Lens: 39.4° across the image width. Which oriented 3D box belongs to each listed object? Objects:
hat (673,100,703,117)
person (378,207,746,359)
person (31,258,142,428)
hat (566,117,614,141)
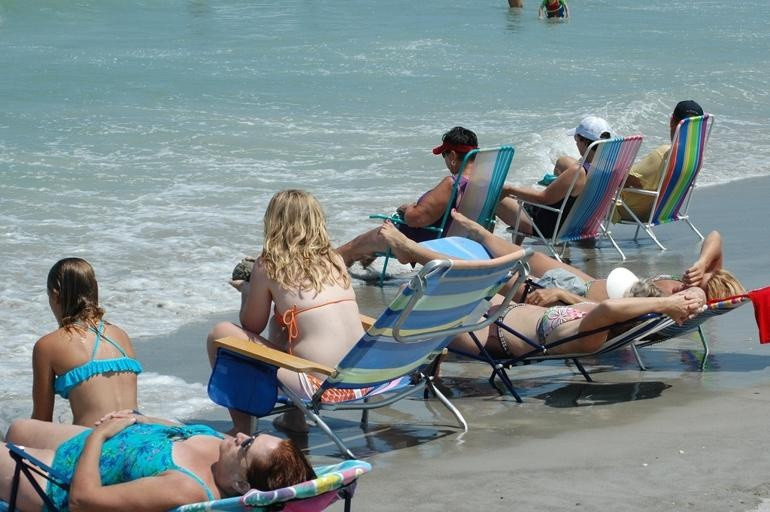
[{"bbox_3d":[3.583,-1.744,12.773,0.280,0.158,0.319,2,12,-2],"label":"hat"},{"bbox_3d":[1.425,0.262,9.746,2.504,0.548,1.553,-8,-6,41],"label":"person"},{"bbox_3d":[-2.318,0.657,8.300,0.813,1.248,0.605,0,13,-7],"label":"person"},{"bbox_3d":[2.383,-1.525,12.842,0.572,0.257,0.395,19,23,35],"label":"hat"}]
